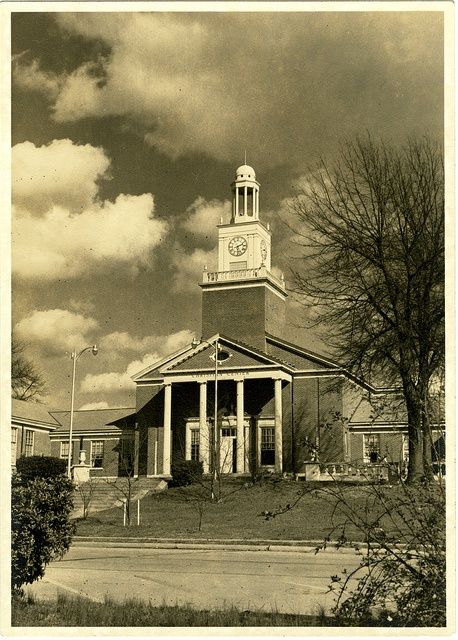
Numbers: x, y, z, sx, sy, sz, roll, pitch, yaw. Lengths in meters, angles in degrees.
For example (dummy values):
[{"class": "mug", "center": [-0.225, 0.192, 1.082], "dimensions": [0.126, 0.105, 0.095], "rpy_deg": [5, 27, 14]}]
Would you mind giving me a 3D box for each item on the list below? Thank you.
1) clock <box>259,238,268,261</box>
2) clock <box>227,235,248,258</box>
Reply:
[{"class": "clock", "center": [1.845, -3.787, 48.538], "dimensions": [0.045, 1.440, 1.199], "rpy_deg": [-3, -1, 14]}, {"class": "clock", "center": [0.482, -3.918, 47.881], "dimensions": [0.870, 1.213, 0.063], "rpy_deg": [0, 0, 22]}]
